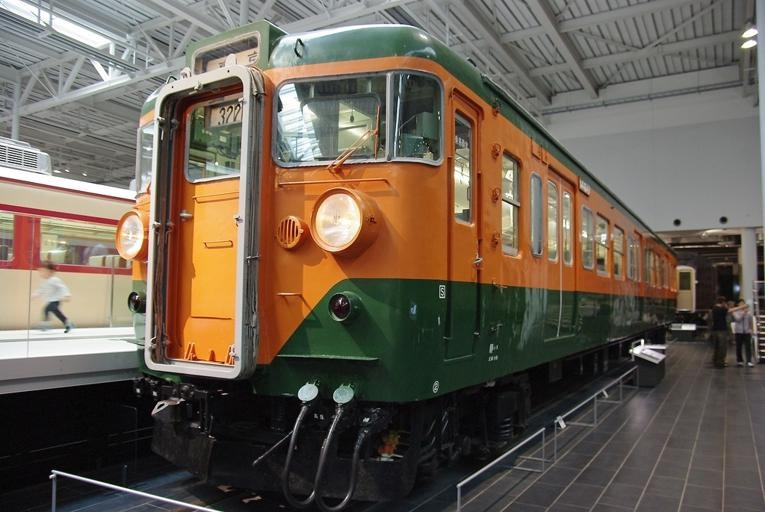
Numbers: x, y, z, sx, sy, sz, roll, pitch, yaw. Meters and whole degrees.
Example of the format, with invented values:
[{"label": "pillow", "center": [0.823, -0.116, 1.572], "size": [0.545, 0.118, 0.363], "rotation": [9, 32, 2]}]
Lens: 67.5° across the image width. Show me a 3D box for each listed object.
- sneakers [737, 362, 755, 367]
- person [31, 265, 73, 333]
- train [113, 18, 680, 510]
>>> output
[{"label": "sneakers", "center": [10.057, 2.984, 15.933], "size": [0.088, 0.115, 0.263], "rotation": [6, -10, -32]}, {"label": "person", "center": [-4.115, 0.517, 7.162], "size": [0.159, 0.978, 0.550], "rotation": [1, 0, 4]}, {"label": "train", "center": [0.241, 0.081, 7.319], "size": [5.908, 5.195, 2.452], "rotation": [0, 0, -37]}]
